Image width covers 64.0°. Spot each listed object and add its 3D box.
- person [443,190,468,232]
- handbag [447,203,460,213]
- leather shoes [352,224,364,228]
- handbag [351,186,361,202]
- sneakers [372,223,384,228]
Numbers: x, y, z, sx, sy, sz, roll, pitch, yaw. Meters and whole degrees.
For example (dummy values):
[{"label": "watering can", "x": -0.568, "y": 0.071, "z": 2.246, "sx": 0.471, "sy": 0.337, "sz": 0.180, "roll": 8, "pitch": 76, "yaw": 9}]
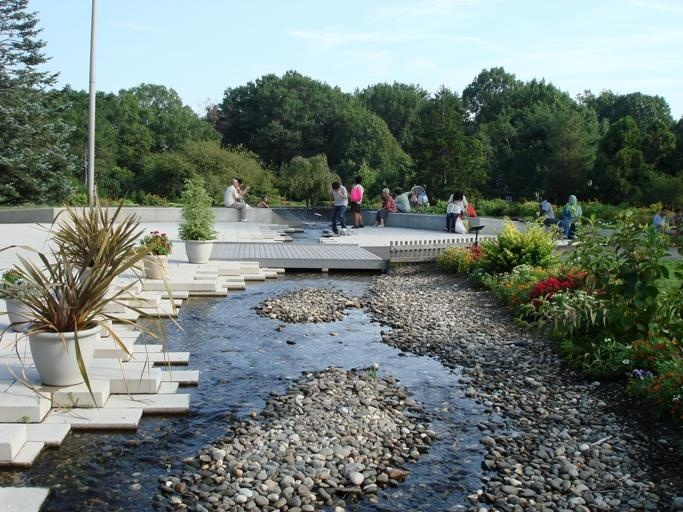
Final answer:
[{"label": "person", "x": 4.441, "y": -1.653, "z": 21.095, "sx": 0.777, "sy": 1.535, "sz": 1.438, "roll": 4, "pitch": 12, "yaw": 12}, {"label": "handbag", "x": 4.296, "y": -1.817, "z": 20.813, "sx": 0.500, "sy": 0.397, "sz": 0.337, "roll": 5, "pitch": 13, "yaw": 18}, {"label": "leather shoes", "x": 0.752, "y": -1.290, "z": 23.494, "sx": 0.447, "sy": 0.167, "sz": 0.158, "roll": 2, "pitch": 10, "yaw": -4}, {"label": "handbag", "x": 0.638, "y": -2.550, "z": 22.493, "sx": 0.367, "sy": 0.660, "sz": 0.487, "roll": 1, "pitch": 12, "yaw": -4}, {"label": "sneakers", "x": 1.733, "y": -1.415, "z": 25.231, "sx": 0.499, "sy": 0.202, "sz": 0.163, "roll": 0, "pitch": 6, "yaw": -24}]
